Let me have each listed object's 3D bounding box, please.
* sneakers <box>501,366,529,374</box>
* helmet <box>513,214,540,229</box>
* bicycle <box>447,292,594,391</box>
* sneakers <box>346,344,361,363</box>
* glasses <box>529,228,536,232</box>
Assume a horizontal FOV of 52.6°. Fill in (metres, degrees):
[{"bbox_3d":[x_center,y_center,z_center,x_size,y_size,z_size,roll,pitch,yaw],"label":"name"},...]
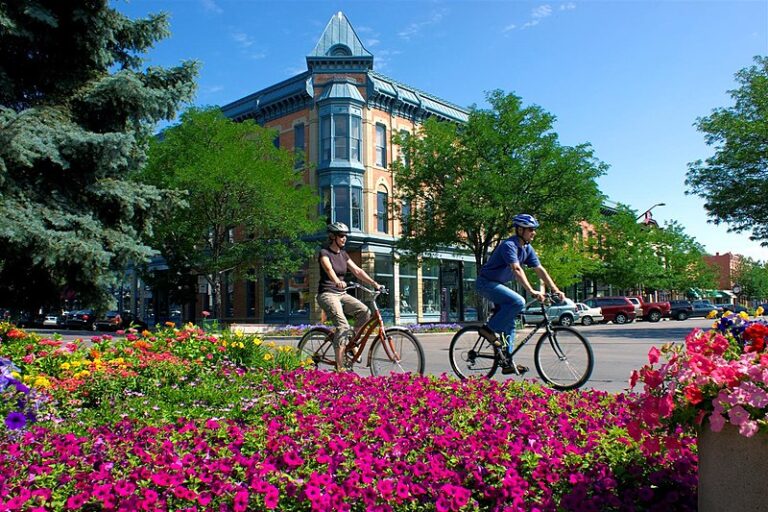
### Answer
[{"bbox_3d":[2.081,1.836,12.374,0.423,0.140,0.154,-4,-10,-3],"label":"sneakers"},{"bbox_3d":[2.254,-0.539,12.359,0.334,0.160,0.232,0,6,24],"label":"helmet"},{"bbox_3d":[2.147,1.376,12.505,2.336,1.461,1.006,0,-11,26],"label":"bicycle"},{"bbox_3d":[-0.449,1.664,13.050,0.135,0.296,0.411,6,-17,-23],"label":"sneakers"},{"bbox_3d":[2.357,-0.414,12.394,0.074,0.080,0.022,4,-1,-34],"label":"glasses"}]
